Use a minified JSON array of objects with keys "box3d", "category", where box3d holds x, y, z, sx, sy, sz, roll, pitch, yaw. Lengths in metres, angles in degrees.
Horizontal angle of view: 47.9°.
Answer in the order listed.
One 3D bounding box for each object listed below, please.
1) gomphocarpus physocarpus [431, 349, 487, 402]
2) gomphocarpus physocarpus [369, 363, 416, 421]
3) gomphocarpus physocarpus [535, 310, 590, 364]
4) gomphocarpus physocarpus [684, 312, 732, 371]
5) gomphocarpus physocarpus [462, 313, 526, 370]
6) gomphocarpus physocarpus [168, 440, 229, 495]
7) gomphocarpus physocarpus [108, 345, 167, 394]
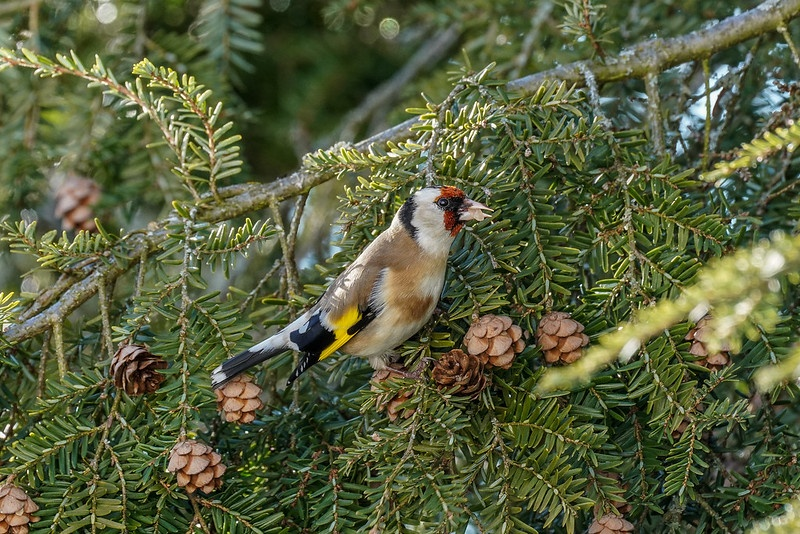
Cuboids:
[{"box3d":[0.264,0.489,4.153,0.285,0.154,0.262,-12,26,-40],"category":"gomphocarpus physocarpus"},{"box3d":[-0.032,0.593,4.245,0.179,0.316,0.302,-14,57,-2],"category":"gomphocarpus physocarpus"},{"box3d":[0.739,0.307,4.189,0.253,0.166,0.263,6,18,37],"category":"gomphocarpus physocarpus"},{"box3d":[1.378,0.343,4.098,0.126,0.221,0.226,-5,76,-51],"category":"gomphocarpus physocarpus"},{"box3d":[0.379,0.340,4.202,0.299,0.188,0.313,10,25,15],"category":"gomphocarpus physocarpus"},{"box3d":[-0.903,0.904,4.051,0.232,0.202,0.232,17,35,3],"category":"gomphocarpus physocarpus"},{"box3d":[-1.205,0.494,4.217,0.232,0.157,0.235,24,87,-14],"category":"gomphocarpus physocarpus"}]
